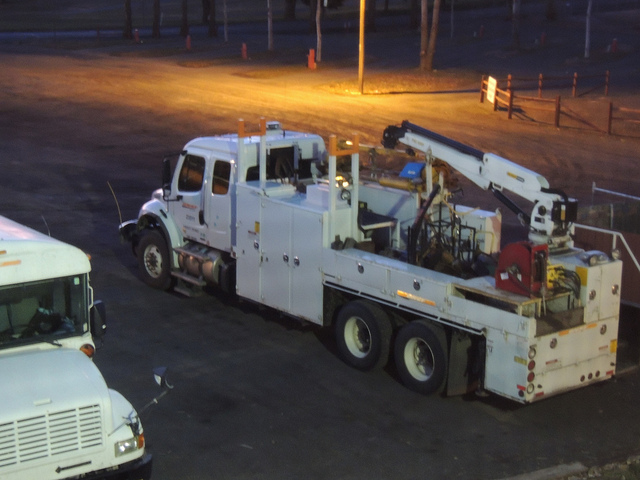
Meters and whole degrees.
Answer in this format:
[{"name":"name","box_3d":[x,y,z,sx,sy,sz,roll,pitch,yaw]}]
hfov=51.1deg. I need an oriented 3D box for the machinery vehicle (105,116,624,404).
[{"name":"machinery vehicle","box_3d":[0.238,-0.167,13.513,9.439,4.352,3.411,14,7,32]}]
